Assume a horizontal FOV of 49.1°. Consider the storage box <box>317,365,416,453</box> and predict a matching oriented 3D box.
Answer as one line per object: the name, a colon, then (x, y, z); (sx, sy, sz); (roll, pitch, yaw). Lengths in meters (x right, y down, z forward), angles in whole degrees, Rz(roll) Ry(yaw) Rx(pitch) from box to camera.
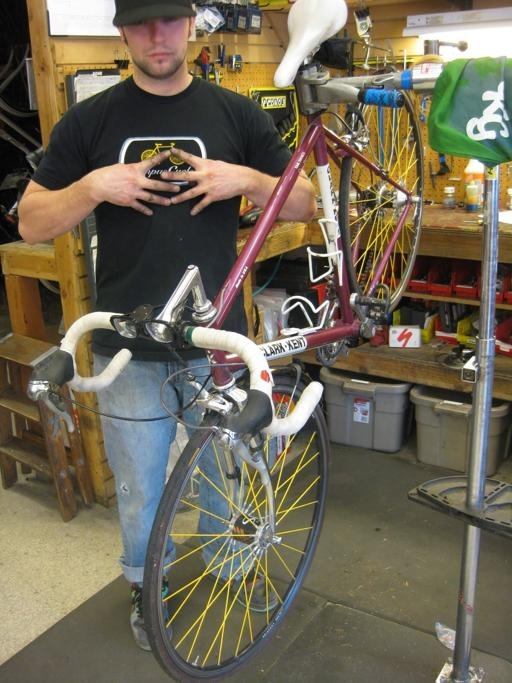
storage box: (0.595, 0.357, 3.003); (0.518, 0.371, 0.461); (4, 11, 21)
